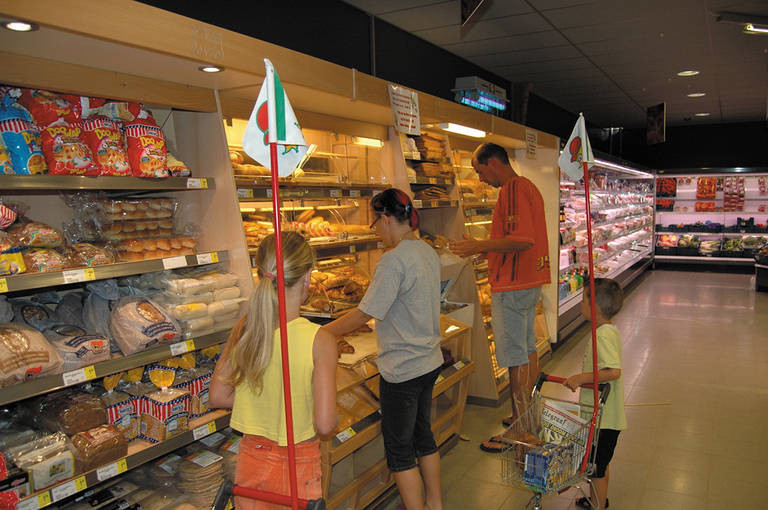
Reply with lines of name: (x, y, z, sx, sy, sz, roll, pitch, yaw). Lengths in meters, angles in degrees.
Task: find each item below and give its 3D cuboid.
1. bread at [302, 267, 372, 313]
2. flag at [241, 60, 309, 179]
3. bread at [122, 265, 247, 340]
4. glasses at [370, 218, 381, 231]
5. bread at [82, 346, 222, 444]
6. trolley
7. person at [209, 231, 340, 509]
bread: (-0.382, 0.273, 3.829, 0.291, 0.116, 0.404, 12, 15, 28)
flag: (-0.484, -0.616, 2.174, 0.291, 0.503, 0.401, 1, 9, 20)
bread: (-1.235, 0.239, 3.046, 0.542, 0.195, 0.427, 11, 13, 36)
glasses: (-0.042, -0.207, 3.301, 0.029, 0.091, 0.087, 13, 0, -21)
bread: (-1.379, 0.851, 2.917, 0.474, 0.180, 0.635, 11, 16, 34)
trolley: (1.060, 1.127, 3.291, 0.654, 0.934, 0.992, 1, 1, 33)
person: (-0.544, 0.575, 2.382, 0.631, 1.354, 0.424, 4, 10, 35)
